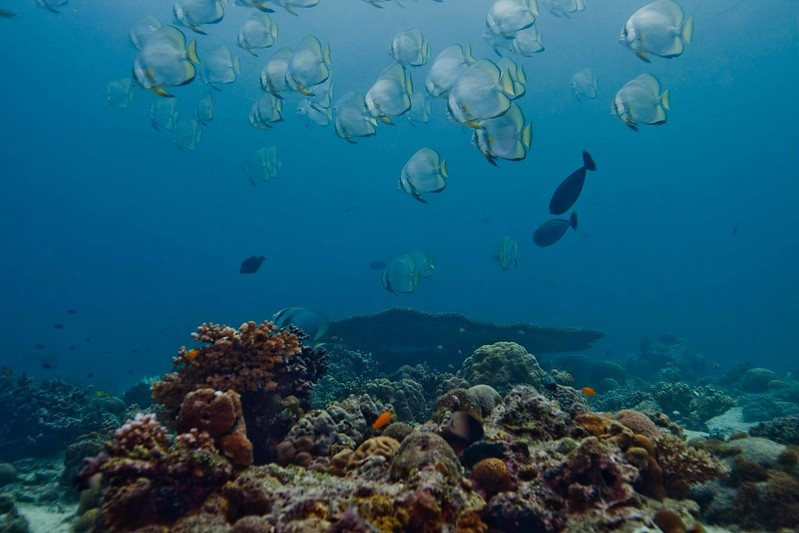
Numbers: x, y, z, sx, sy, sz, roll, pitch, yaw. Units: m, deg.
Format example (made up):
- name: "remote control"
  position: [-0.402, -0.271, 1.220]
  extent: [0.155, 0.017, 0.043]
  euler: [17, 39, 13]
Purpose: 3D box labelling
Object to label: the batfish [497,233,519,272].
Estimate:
- name: "batfish"
  position: [3.990, -0.453, 22.173]
  extent: [0.812, 1.463, 0.636]
  euler: [7, 0, -9]
